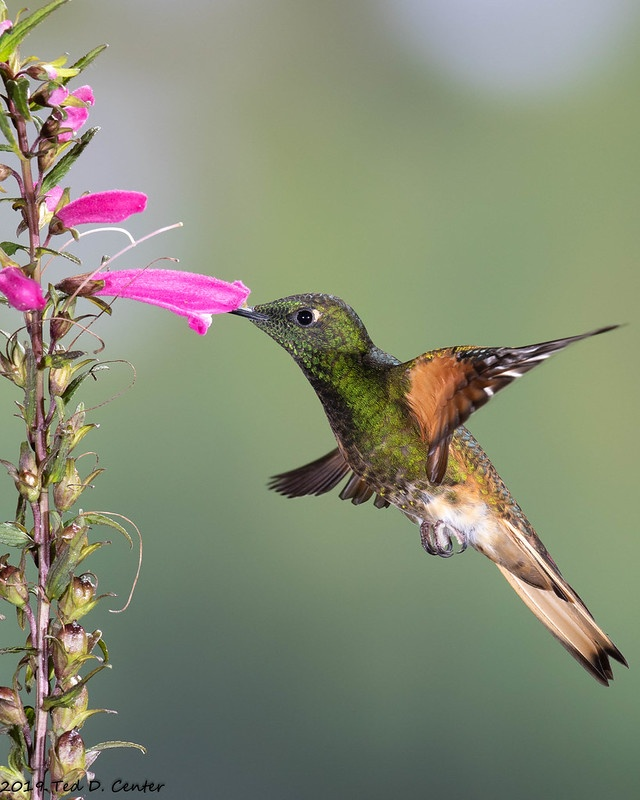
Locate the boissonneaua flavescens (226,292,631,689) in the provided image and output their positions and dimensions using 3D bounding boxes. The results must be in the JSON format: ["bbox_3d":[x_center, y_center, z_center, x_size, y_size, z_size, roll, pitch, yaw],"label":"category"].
[{"bbox_3d":[0.115,0.054,1.029,0.422,0.195,0.471,11,-15,2],"label":"boissonneaua flavescens"}]
